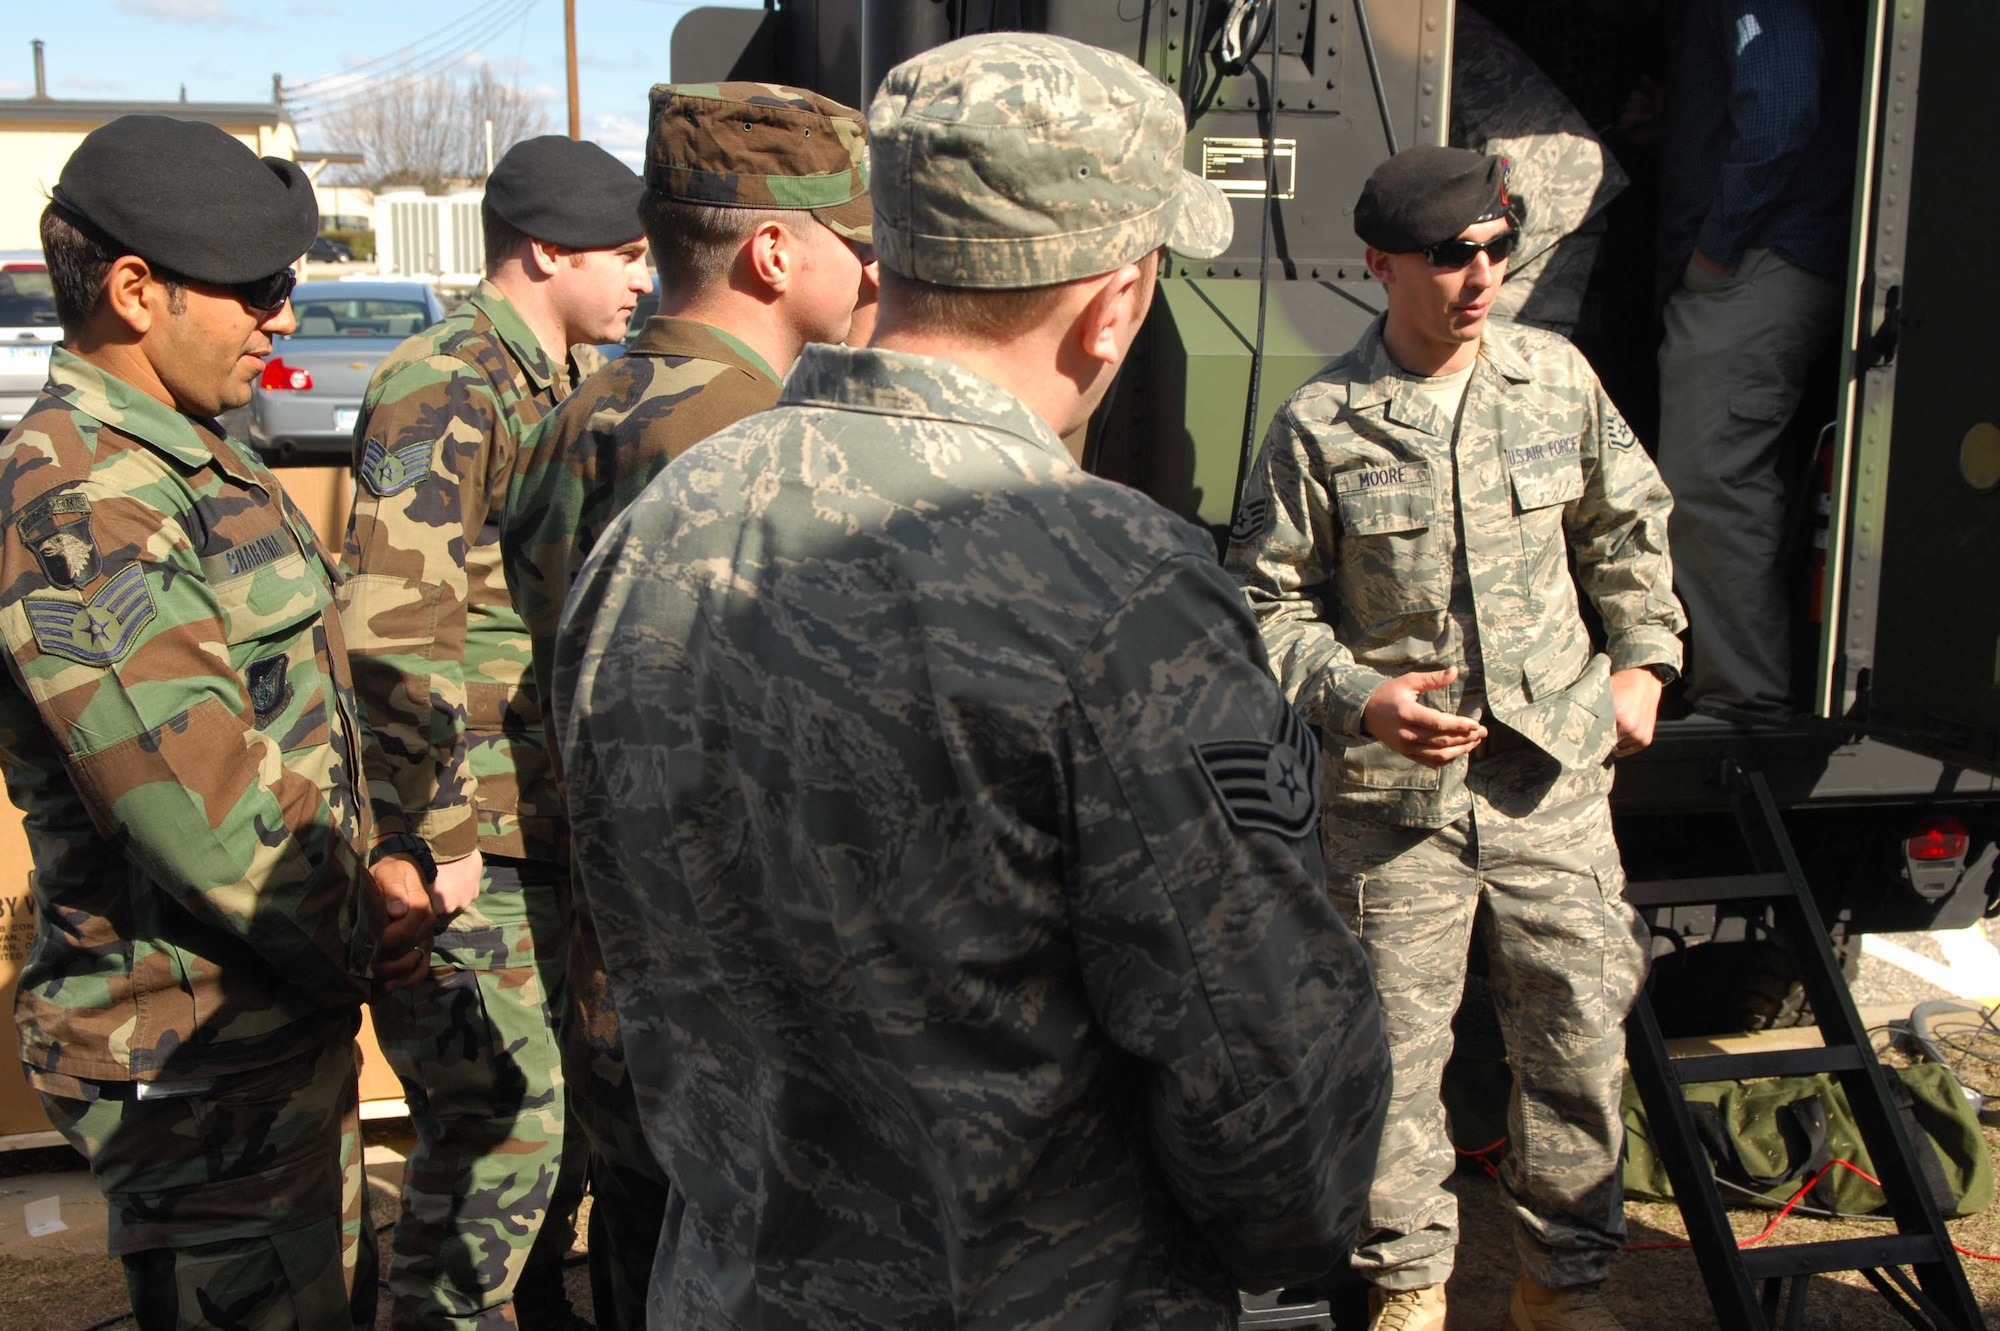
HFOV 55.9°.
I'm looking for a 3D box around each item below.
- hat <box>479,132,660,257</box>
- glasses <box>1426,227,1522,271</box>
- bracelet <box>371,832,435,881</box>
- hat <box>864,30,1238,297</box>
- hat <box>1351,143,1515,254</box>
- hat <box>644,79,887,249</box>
[{"bbox_3d":[-0.946,-1.054,4.170,0.440,0.206,0.312,1,12,-18],"label":"hat"},{"bbox_3d":[1.034,-0.906,4.084,0.225,0.094,0.078,-8,14,-32],"label":"glasses"},{"bbox_3d":[-1.192,0.373,3.742,0.084,0.108,0.043,-15,42,7],"label":"bracelet"},{"bbox_3d":[0.074,-0.729,2.573,0.423,0.271,0.584,25,36,31],"label":"hat"},{"bbox_3d":[0.945,-1.086,4.146,0.345,0.117,0.339,-21,49,-21],"label":"hat"},{"bbox_3d":[-0.363,-0.900,3.280,0.471,0.211,0.333,5,22,3],"label":"hat"}]
